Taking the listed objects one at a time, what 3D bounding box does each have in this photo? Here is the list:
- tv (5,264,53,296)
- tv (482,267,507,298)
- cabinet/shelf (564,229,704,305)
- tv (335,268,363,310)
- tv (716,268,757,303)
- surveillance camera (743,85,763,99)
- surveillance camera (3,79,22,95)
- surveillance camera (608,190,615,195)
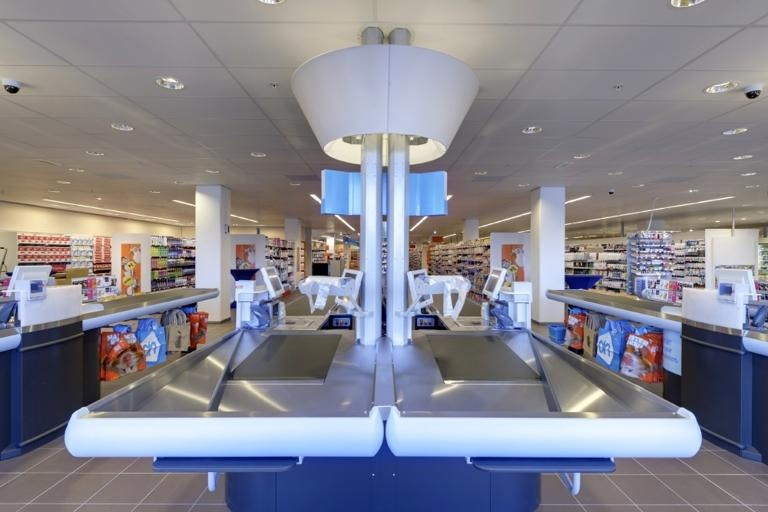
[{"bbox_3d":[-3.915,0.207,5.272,0.320,0.372,0.541,0,-1,33],"label":"tv"},{"bbox_3d":[1.174,0.286,5.065,0.227,0.358,0.369,0,11,6],"label":"tv"},{"bbox_3d":[6.456,0.257,12.313,2.418,1.217,3.165,-1,2,-26],"label":"cabinet/shelf"},{"bbox_3d":[-0.309,0.342,4.614,0.225,0.409,0.269,0,9,-41],"label":"tv"},{"bbox_3d":[3.768,0.321,5.180,0.205,0.324,0.358,-5,4,-19],"label":"tv"},{"bbox_3d":[4.401,-1.948,5.705,0.143,0.106,0.146,0,-3,7],"label":"surveillance camera"},{"bbox_3d":[-4.410,-1.983,5.646,0.131,0.089,0.184,-1,2,-37],"label":"surveillance camera"},{"bbox_3d":[5.165,-1.442,10.883,0.102,0.052,0.101,-1,-1,7],"label":"surveillance camera"}]
